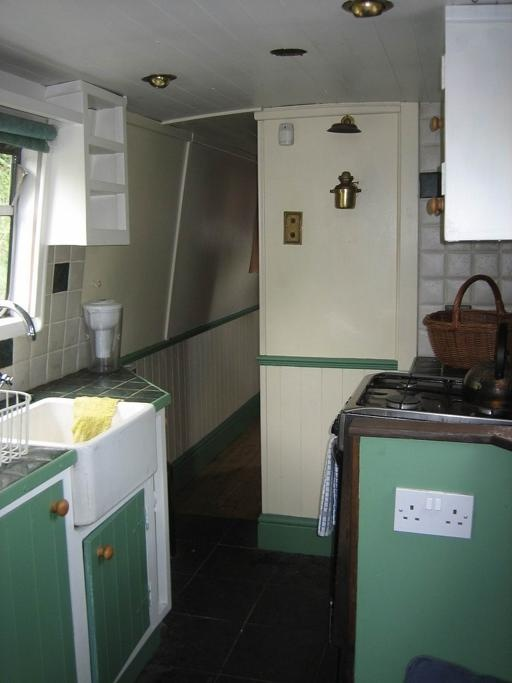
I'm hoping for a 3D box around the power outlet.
[{"bbox_3d":[0.466,0.459,1.432,0.198,0.129,0.018,2,7,20],"label":"power outlet"}]

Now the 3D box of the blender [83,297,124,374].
[{"bbox_3d":[-0.688,-0.028,2.458,0.171,0.312,0.180,1,13,-5],"label":"blender"}]
